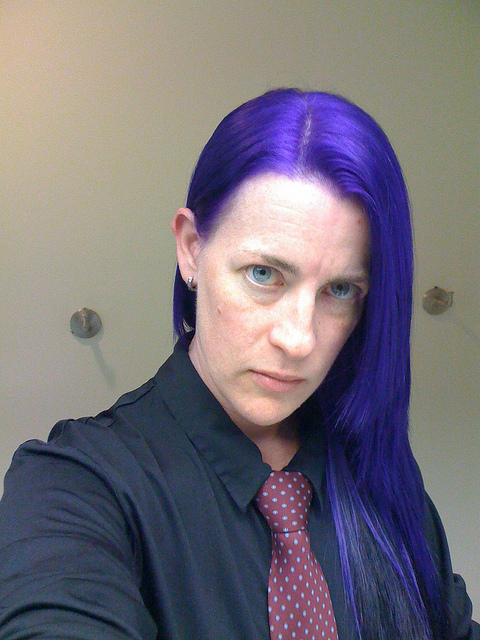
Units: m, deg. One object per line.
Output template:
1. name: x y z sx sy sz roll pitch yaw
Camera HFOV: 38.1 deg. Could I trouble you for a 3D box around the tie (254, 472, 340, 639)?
1. tie: 0.072 0.320 0.949 0.081 0.202 0.169 -13 11 8
